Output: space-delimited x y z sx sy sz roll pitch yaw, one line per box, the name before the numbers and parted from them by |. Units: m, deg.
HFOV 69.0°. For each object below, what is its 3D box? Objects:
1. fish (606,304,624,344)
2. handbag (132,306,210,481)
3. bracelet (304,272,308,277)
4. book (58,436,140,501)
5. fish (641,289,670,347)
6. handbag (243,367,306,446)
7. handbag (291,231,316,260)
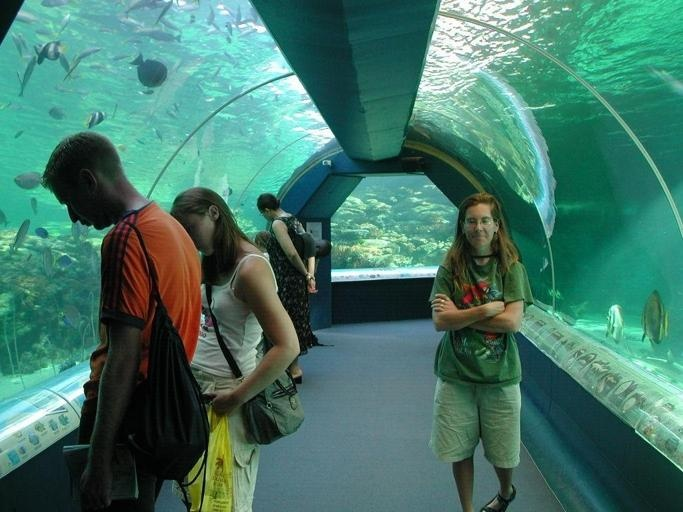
fish | 2.362 0.574 4.280 0.104 0.260 0.130 1 12 33
handbag | -0.832 0.666 2.339 0.353 0.855 0.178 -6 10 -17
bracelet | -0.454 0.231 6.471 0.050 0.044 0.047 3 -15 -28
book | -1.111 1.010 2.280 0.326 0.298 0.089 -3 10 3
fish | 2.372 0.470 3.702 0.132 0.390 0.724 2 0 22
handbag | -0.410 0.845 2.926 0.247 0.406 0.332 -23 -5 25
handbag | -0.453 -0.140 6.137 0.311 0.368 0.277 -8 4 35
